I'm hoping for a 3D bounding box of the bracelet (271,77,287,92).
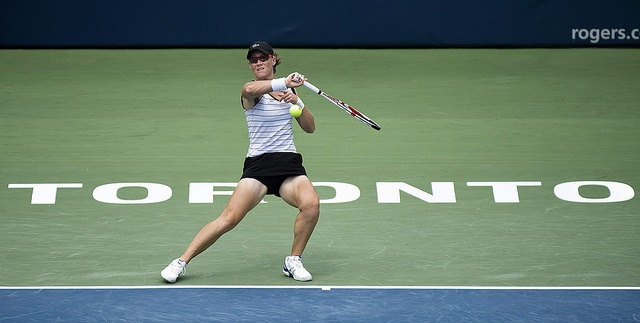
[{"bbox_3d":[-0.543,-1.018,6.794,0.206,0.154,0.166,6,-7,3],"label":"bracelet"}]

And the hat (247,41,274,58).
[{"bbox_3d":[-0.803,-1.552,7.076,0.270,0.161,0.316,-7,-20,12],"label":"hat"}]

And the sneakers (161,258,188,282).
[{"bbox_3d":[-1.931,1.451,6.850,0.201,0.189,0.457,-40,8,3],"label":"sneakers"}]

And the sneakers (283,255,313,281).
[{"bbox_3d":[-0.325,1.450,6.909,0.222,0.215,0.540,-3,6,-38],"label":"sneakers"}]
